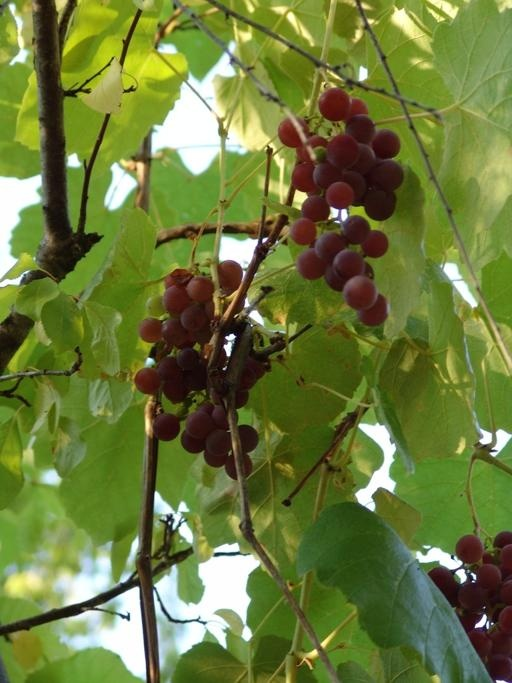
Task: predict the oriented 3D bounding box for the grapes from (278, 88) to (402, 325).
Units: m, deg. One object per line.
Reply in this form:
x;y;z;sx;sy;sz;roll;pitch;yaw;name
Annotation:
0.114;-0.182;1.476;0.161;0.334;0.156;-12;-13;35;grapes
